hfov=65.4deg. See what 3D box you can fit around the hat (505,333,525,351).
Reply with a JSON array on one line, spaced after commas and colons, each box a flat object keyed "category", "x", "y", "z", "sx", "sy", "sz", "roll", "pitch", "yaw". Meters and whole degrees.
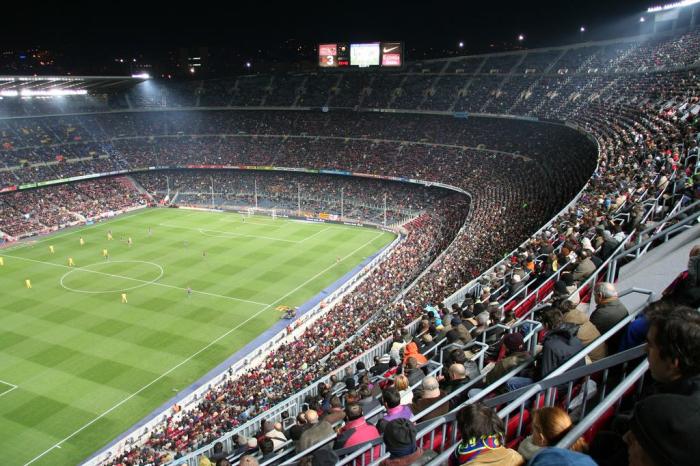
[{"category": "hat", "x": 3.922, "y": 2.564, "z": 12.975, "sx": 0.527, "sy": 0.302, "sz": 0.416, "roll": -23, "pitch": 23, "yaw": -40}]
